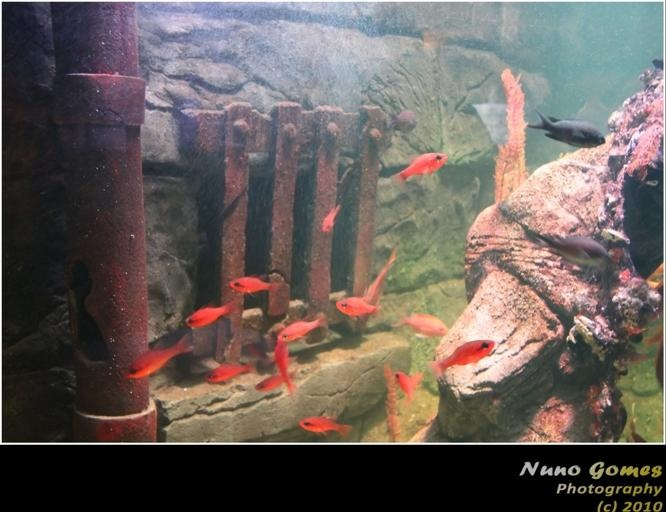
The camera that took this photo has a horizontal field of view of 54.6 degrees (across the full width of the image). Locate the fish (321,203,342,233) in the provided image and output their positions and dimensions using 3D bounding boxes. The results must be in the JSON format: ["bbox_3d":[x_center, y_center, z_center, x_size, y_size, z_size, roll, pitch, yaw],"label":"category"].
[{"bbox_3d":[0.000,-0.270,4.626,0.068,0.195,0.194,12,20,36],"label":"fish"}]

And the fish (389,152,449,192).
[{"bbox_3d":[0.620,-0.601,4.542,0.324,0.155,0.084,-25,35,37],"label":"fish"}]

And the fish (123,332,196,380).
[{"bbox_3d":[-1.125,0.663,4.113,0.175,0.279,0.547,8,18,25],"label":"fish"}]

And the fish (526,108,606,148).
[{"bbox_3d":[1.515,-0.825,4.183,0.490,0.209,0.106,18,48,27],"label":"fish"}]

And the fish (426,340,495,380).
[{"bbox_3d":[0.840,0.669,4.163,0.429,0.195,0.099,-25,21,17],"label":"fish"}]

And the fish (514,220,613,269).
[{"bbox_3d":[1.541,-0.079,4.246,0.399,0.165,0.071,27,74,35],"label":"fish"}]
